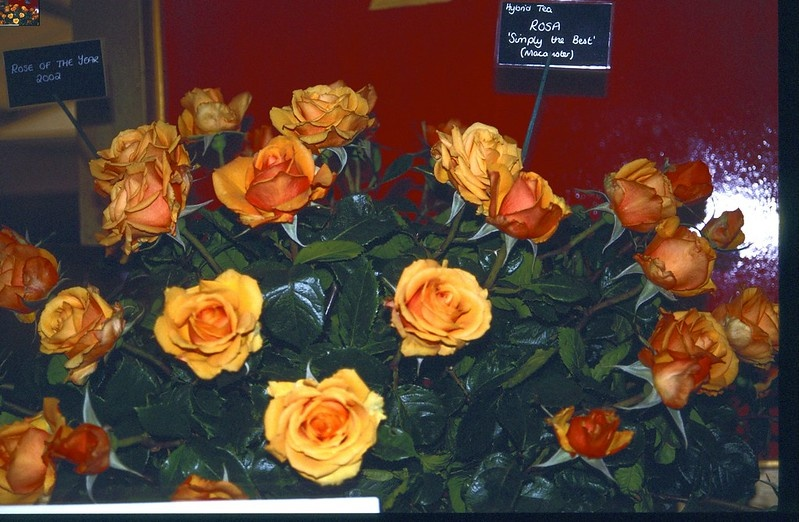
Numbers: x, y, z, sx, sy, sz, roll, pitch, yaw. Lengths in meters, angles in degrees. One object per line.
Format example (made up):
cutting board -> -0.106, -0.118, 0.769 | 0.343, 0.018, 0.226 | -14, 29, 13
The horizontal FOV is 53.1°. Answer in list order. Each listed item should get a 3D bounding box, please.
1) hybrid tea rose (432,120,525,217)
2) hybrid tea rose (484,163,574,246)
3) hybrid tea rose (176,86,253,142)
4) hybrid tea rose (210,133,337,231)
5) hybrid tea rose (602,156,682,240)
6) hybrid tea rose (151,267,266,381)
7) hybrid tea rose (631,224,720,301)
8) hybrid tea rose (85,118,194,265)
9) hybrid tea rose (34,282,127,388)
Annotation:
hybrid tea rose -> 0.091, -0.126, 1.032 | 0.112, 0.077, 0.111 | -32, 69, -13
hybrid tea rose -> 0.165, -0.077, 0.992 | 0.091, 0.051, 0.089 | 27, -4, -41
hybrid tea rose -> -0.248, -0.194, 1.030 | 0.099, 0.051, 0.094 | 0, 22, 41
hybrid tea rose -> -0.145, -0.095, 0.996 | 0.157, 0.088, 0.157 | 0, -12, 18
hybrid tea rose -> 0.297, -0.079, 0.985 | 0.096, 0.074, 0.051 | -11, 7, 15
hybrid tea rose -> -0.220, 0.079, 0.966 | 0.135, 0.058, 0.136 | 3, 35, -23
hybrid tea rose -> 0.343, -0.001, 0.989 | 0.103, 0.090, 0.043 | 3, 13, -8
hybrid tea rose -> -0.321, -0.094, 0.988 | 0.121, 0.153, 0.085 | 16, 17, 39
hybrid tea rose -> -0.392, 0.092, 0.970 | 0.110, 0.120, 0.052 | 8, 13, 10
